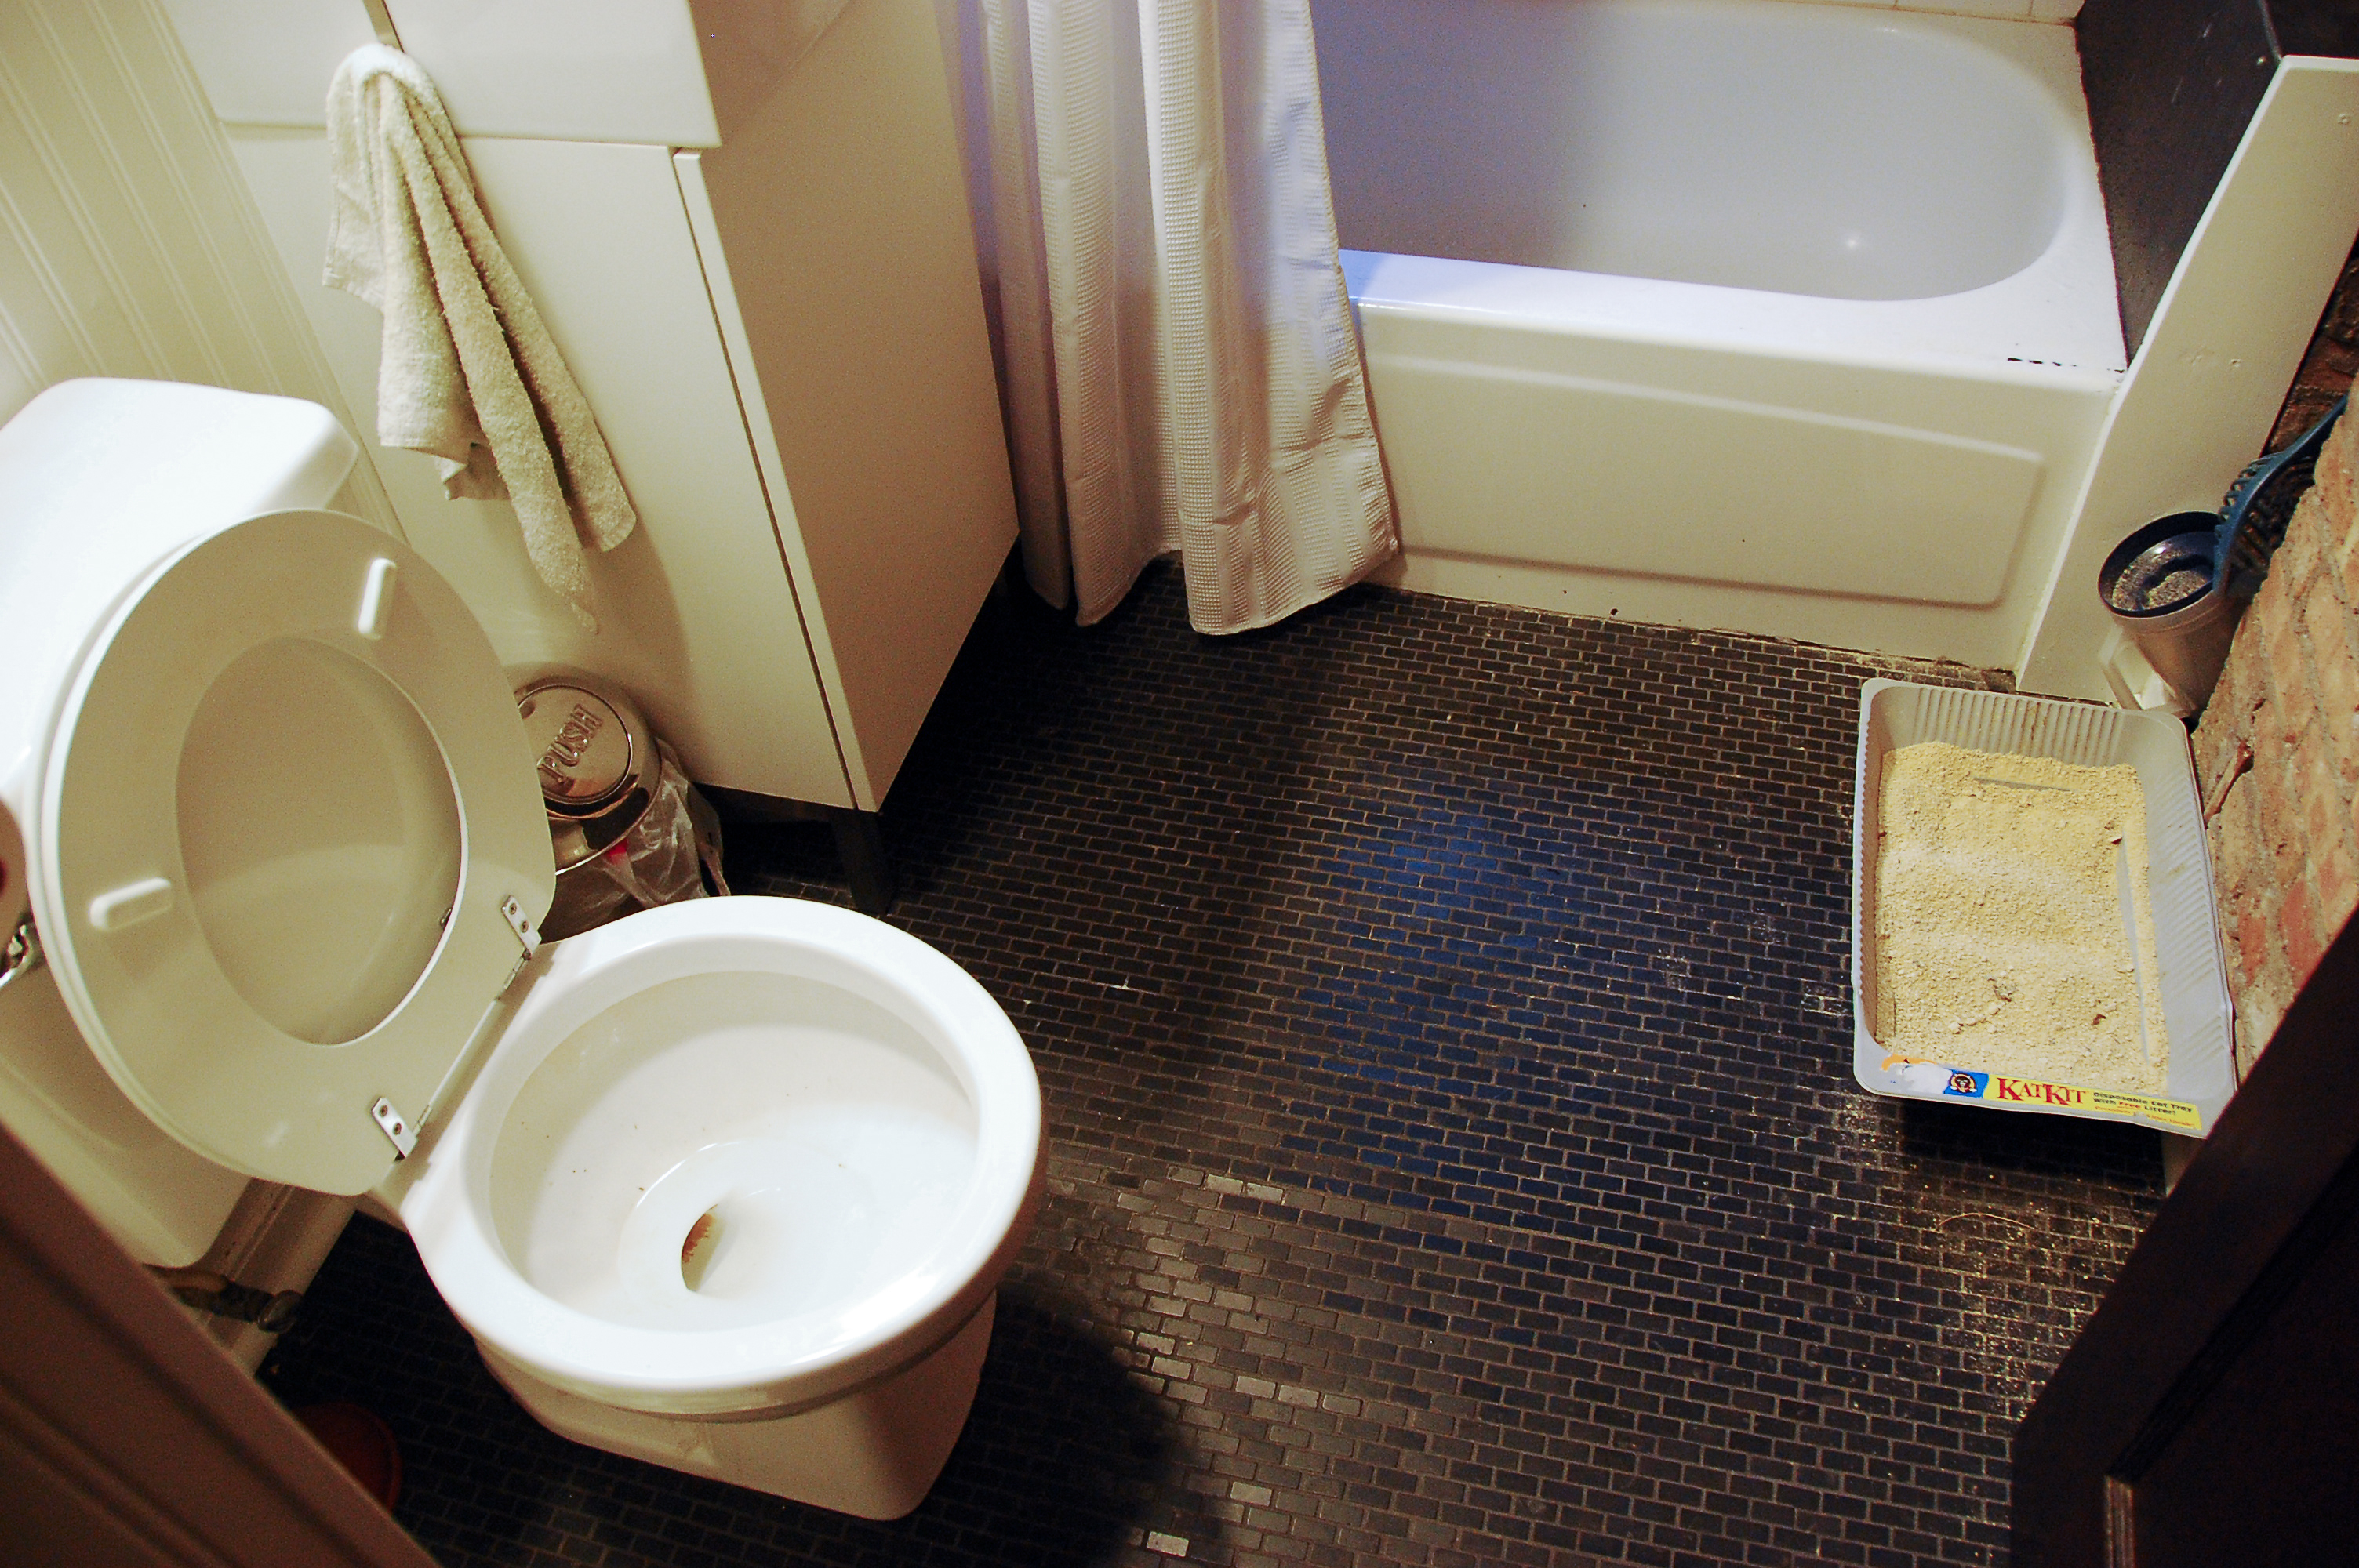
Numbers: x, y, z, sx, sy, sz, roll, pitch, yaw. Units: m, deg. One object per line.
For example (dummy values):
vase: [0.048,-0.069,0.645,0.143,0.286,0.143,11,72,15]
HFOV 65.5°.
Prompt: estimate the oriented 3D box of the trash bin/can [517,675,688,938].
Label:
trash bin/can: [-0.705,0.022,2.219,0.209,0.203,0.158,31,68,5]
